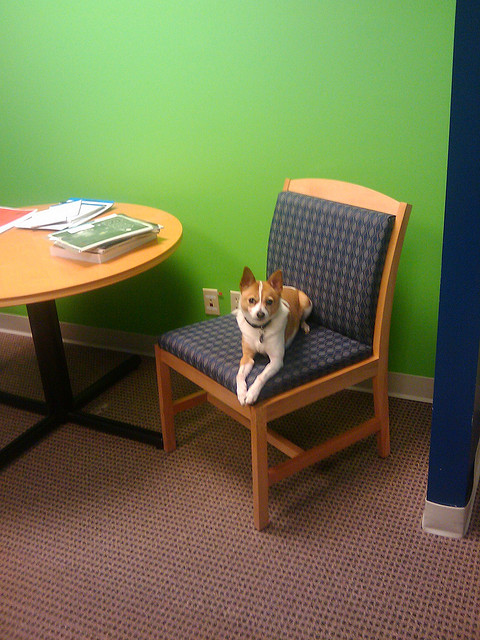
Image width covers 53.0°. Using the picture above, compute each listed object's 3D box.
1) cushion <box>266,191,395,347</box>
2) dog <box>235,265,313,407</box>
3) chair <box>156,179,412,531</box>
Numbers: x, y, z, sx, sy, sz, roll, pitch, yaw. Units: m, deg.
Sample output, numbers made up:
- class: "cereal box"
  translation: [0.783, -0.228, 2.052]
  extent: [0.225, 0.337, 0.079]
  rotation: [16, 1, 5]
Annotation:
- class: "cushion"
  translation: [0.274, -0.143, 1.406]
  extent: [0.197, 0.419, 0.223]
  rotation: [26, 40, 32]
- class: "dog"
  translation: [0.087, -0.022, 1.350]
  extent: [0.166, 0.291, 0.498]
  rotation: [1, 22, 21]
- class: "chair"
  translation: [0.102, 0.060, 1.475]
  extent: [0.577, 0.999, 0.677]
  rotation: [4, 13, -17]
